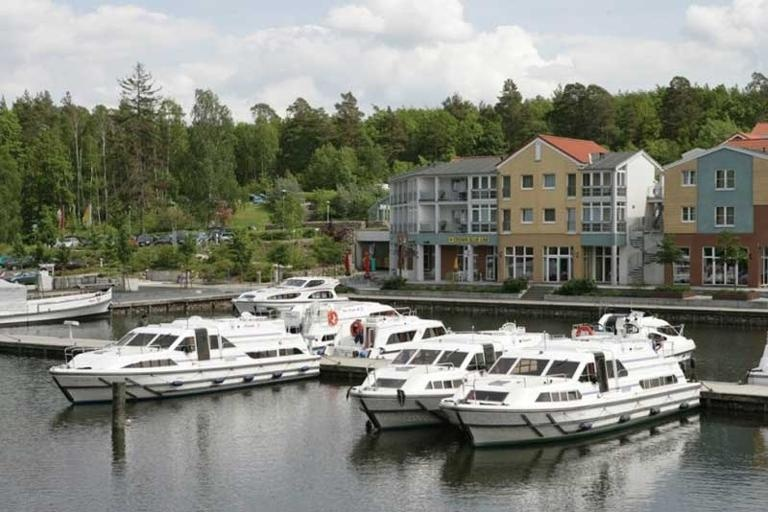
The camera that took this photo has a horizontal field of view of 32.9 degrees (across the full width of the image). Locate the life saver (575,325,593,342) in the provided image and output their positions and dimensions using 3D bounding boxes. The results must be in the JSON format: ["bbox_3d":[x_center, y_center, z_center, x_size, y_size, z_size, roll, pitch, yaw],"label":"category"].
[{"bbox_3d":[13.114,4.854,85.565,0.732,0.618,1.144,4,6,31],"label":"life saver"}]
